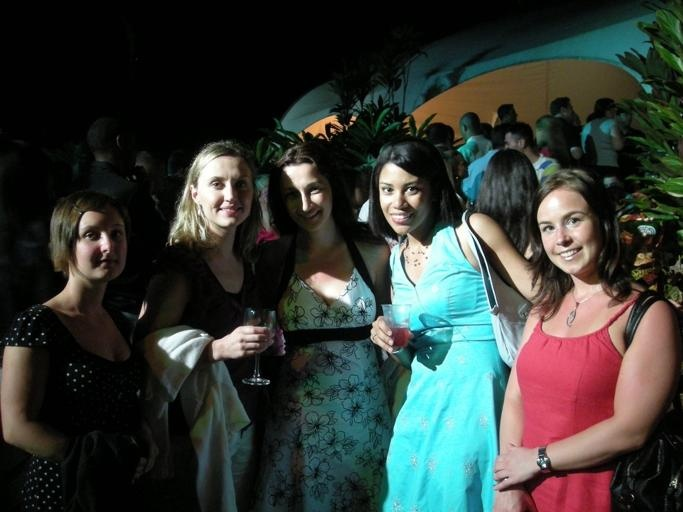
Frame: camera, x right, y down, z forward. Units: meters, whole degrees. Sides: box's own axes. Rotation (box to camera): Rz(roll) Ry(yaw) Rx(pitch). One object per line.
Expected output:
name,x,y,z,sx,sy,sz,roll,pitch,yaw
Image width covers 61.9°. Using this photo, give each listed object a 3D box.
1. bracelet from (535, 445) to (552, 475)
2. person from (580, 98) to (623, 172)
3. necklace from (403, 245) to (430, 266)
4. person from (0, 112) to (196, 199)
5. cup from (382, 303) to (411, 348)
bracelet,0.774,0.782,2.176,0.062,0.096,0.092,-19,-18,9
person,2.723,-1.262,5.960,0.402,0.824,0.451,-1,3,22
necklace,0.376,0.000,2.883,0.029,0.088,0.112,5,-16,-31
person,-1.575,-0.534,3.885,1.277,0.508,0.772,3,9,-29
cup,0.279,0.326,2.688,0.106,0.216,0.216,-1,4,32
